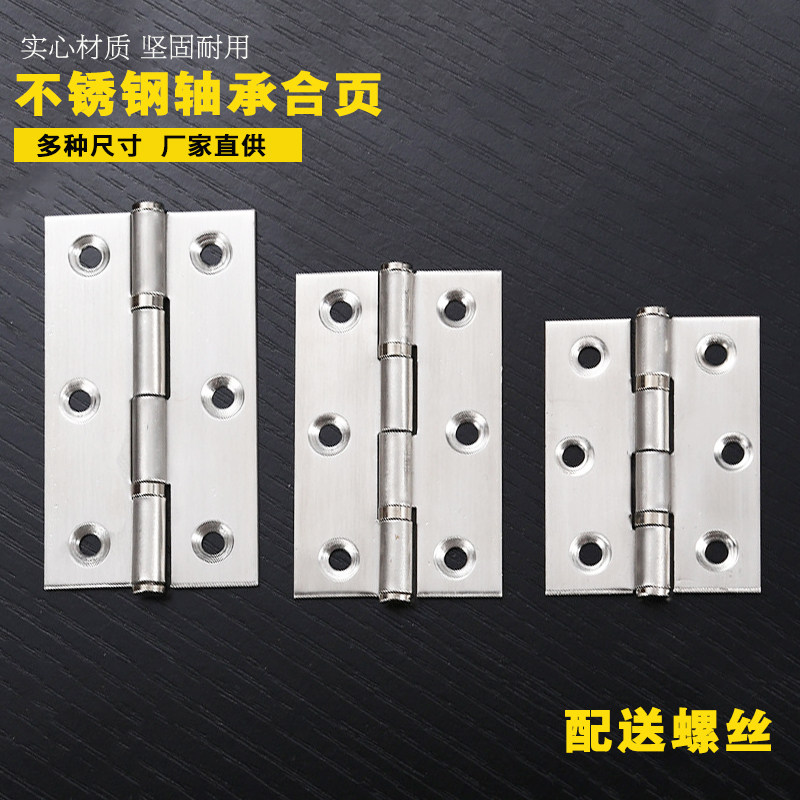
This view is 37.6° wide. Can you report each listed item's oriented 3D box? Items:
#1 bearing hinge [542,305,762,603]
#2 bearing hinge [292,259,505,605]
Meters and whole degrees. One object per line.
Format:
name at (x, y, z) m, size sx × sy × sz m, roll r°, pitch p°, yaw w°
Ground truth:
bearing hinge at (0.359, 0.097, 1.697) m, size 0.369 × 0.065 × 0.550 m, roll 0°, pitch 88°, yaw 3°
bearing hinge at (-0.006, 0.044, 1.700) m, size 0.296 × 0.078 × 0.475 m, roll 0°, pitch 79°, yaw 0°
